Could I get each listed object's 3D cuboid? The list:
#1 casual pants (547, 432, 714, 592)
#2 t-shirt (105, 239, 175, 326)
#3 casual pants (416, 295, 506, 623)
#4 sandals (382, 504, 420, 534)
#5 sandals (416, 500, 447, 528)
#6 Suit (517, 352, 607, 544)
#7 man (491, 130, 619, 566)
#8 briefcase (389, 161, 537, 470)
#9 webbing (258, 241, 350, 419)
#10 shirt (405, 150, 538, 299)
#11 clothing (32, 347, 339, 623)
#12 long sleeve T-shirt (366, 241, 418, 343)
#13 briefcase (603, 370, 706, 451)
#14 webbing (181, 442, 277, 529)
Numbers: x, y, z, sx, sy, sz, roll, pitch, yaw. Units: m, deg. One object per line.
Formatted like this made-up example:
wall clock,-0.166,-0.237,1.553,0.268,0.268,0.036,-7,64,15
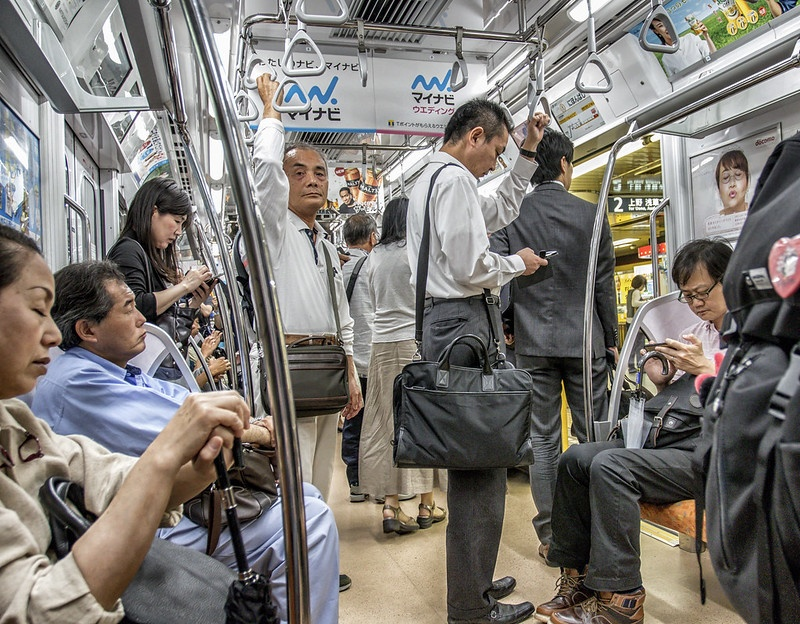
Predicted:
casual pants,0.906,0.915,2.610,0.650,0.819,0.645,6,-16,-2
t-shirt,-1.294,-0.181,2.747,0.178,0.429,0.423,-15,32,-7
casual pants,0.245,0.630,2.467,0.308,1.438,0.423,1,2,22
sandals,-0.013,1.365,3.587,0.317,0.232,0.115,14,-23,-38
sandals,0.214,1.390,3.786,0.091,0.132,0.287,0,-2,28
Suit,0.978,0.658,3.251,0.445,1.662,0.359,-5,19,7
man,0.937,0.193,3.451,0.743,2.468,0.695,-3,1,15
briefcase,0.251,-0.003,2.368,0.581,1.388,0.338,-1,-3,-1
webbing,-0.435,0.007,2.512,0.379,0.944,0.110,0,-14,-25
shirt,0.399,-0.365,2.759,0.668,0.891,0.701,-7,11,-9
clothing,-0.707,0.571,2.351,1.096,1.302,0.766,-3,-1,-16
long sleeve T-shirt,-0.033,-0.147,4.028,0.452,0.666,0.333,2,2,27
briefcase,1.132,0.533,2.491,0.393,0.170,0.293,-18,-15,-33
webbing,-0.582,0.647,1.948,0.246,0.240,0.139,-29,6,-23
